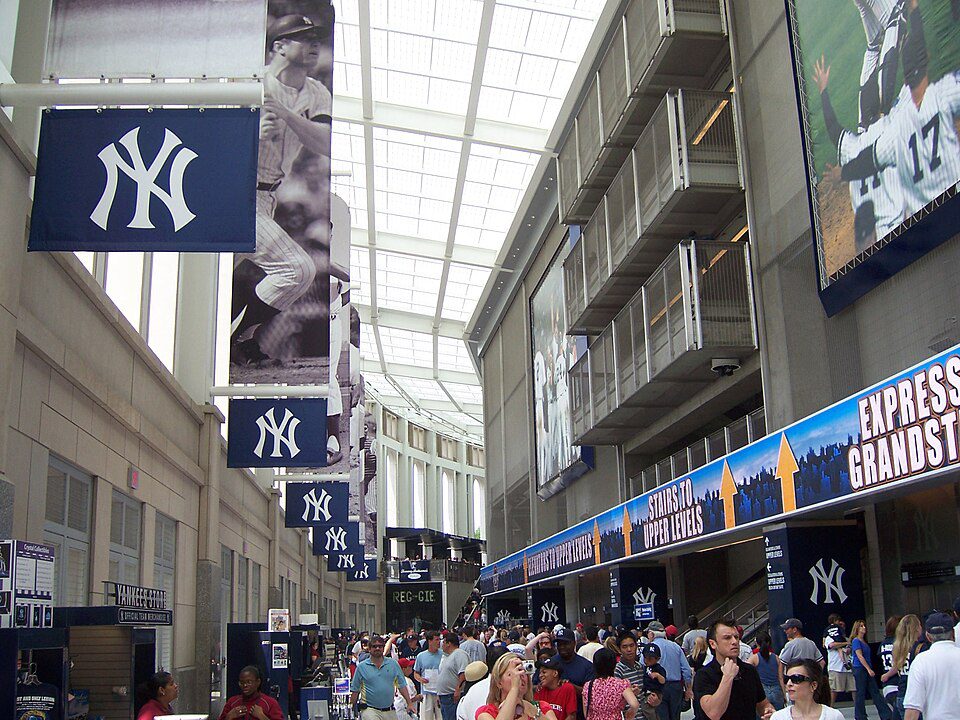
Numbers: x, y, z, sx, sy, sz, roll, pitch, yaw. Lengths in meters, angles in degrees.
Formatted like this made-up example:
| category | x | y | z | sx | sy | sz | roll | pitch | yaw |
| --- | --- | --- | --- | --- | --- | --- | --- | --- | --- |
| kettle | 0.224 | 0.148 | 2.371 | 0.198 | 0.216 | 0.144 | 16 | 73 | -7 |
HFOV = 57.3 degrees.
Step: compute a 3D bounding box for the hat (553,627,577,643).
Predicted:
| category | x | y | z | sx | sy | sz | roll | pitch | yaw |
| --- | --- | --- | --- | --- | --- | --- | --- | --- | --- |
| hat | 0.808 | 2.606 | 8.399 | 0.131 | 0.113 | 0.209 | -10 | -36 | 14 |
